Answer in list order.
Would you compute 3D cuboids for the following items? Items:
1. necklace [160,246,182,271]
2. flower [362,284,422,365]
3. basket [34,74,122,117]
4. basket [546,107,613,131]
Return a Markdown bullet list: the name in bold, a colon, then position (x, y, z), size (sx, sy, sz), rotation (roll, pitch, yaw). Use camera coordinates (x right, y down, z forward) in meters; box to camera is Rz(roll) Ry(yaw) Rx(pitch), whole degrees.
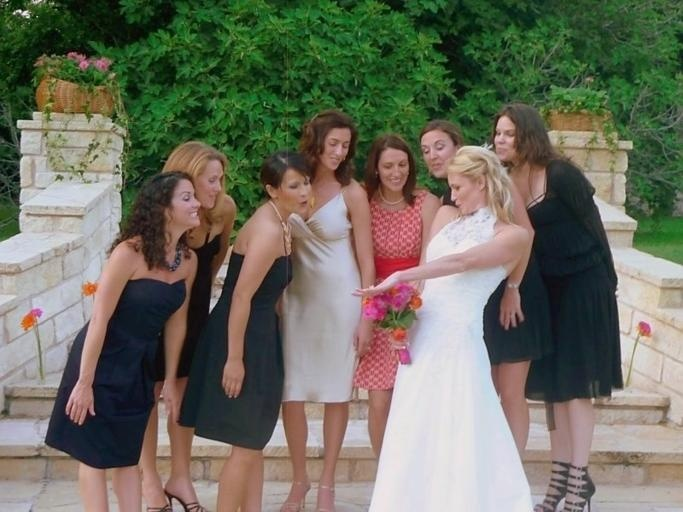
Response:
- **necklace**: position (-1.073, 0.016, 5.618), size (0.112, 0.141, 0.045), rotation (-3, 14, -43)
- **flower**: position (0.360, 0.449, 5.556), size (0.373, 0.469, 0.345), rotation (-14, 2, 11)
- **basket**: position (-2.485, -1.451, 8.166), size (0.382, 0.236, 0.520), rotation (7, 3, 24)
- **basket**: position (2.342, -1.329, 8.583), size (0.604, 0.225, 0.629), rotation (1, 0, 2)
